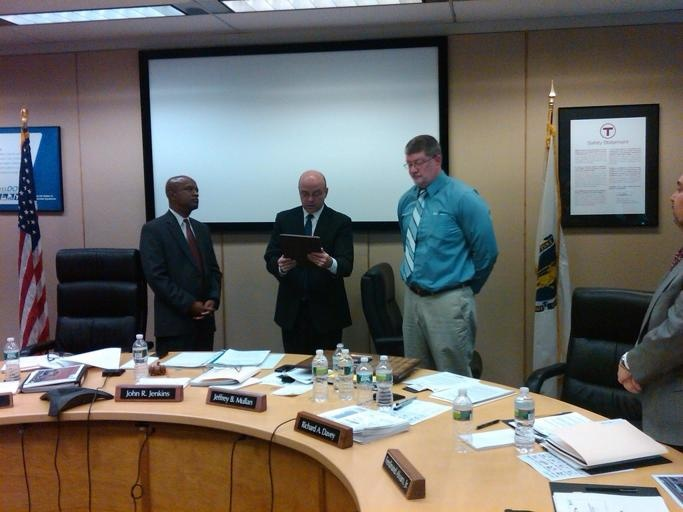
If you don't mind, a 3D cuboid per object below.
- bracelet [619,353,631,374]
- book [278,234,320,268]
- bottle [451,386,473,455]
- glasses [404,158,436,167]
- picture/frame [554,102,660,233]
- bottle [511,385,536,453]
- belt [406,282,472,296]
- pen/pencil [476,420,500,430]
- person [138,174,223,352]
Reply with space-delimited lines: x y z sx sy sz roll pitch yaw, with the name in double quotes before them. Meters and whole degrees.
"bracelet" 1.398 0.529 2.775 0.087 0.081 0.067 12 -11 -35
"book" -0.290 -0.033 3.913 0.293 0.414 0.028 2 46 4
"bottle" 0.549 0.704 2.550 0.089 0.255 0.240 1 14 12
"glasses" 0.527 -0.626 3.805 0.167 0.057 0.067 2 14 15
"picture/frame" 2.159 -0.742 4.516 0.943 1.253 0.048 0 3 3
"bottle" 0.830 0.705 2.538 0.094 0.243 0.268 3 14 18
"belt" 0.657 0.219 3.818 0.404 0.106 0.120 2 14 15
"pen/pencil" 0.692 0.794 2.664 0.115 0.015 0.020 -5 3 -41
"person" -1.197 0.089 4.246 0.573 1.325 0.469 -8 14 -24
